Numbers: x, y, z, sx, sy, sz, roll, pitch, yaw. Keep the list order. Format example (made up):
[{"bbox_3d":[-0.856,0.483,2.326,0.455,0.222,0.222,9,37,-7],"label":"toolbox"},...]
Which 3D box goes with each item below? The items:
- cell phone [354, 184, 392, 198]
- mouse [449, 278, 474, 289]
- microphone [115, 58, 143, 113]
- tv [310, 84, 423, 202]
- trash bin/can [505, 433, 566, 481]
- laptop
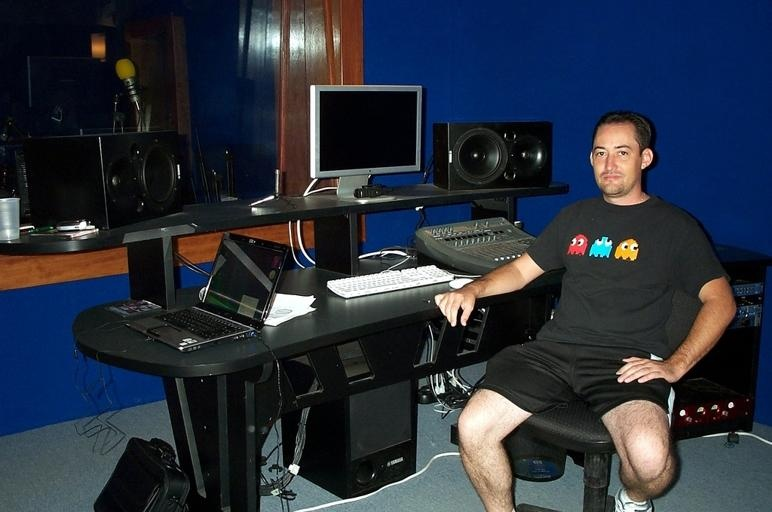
[{"bbox_3d":[-0.060,-0.323,3.124,0.197,0.058,0.062,-10,7,-36],"label":"cell phone"},{"bbox_3d":[0.327,0.118,2.780,0.060,0.023,0.059,-10,30,-7],"label":"mouse"},{"bbox_3d":[-1.448,-0.959,3.471,0.117,0.287,0.159,-8,14,-19],"label":"microphone"},{"bbox_3d":[-0.103,-0.572,3.072,0.641,0.505,0.201,-8,10,-35],"label":"tv"},{"bbox_3d":[0.684,0.947,2.981,0.300,0.289,0.210,7,55,-9],"label":"trash bin/can"},{"bbox_3d":[-0.685,0.124,2.425,0.410,0.350,0.519,10,19,44],"label":"laptop"}]
